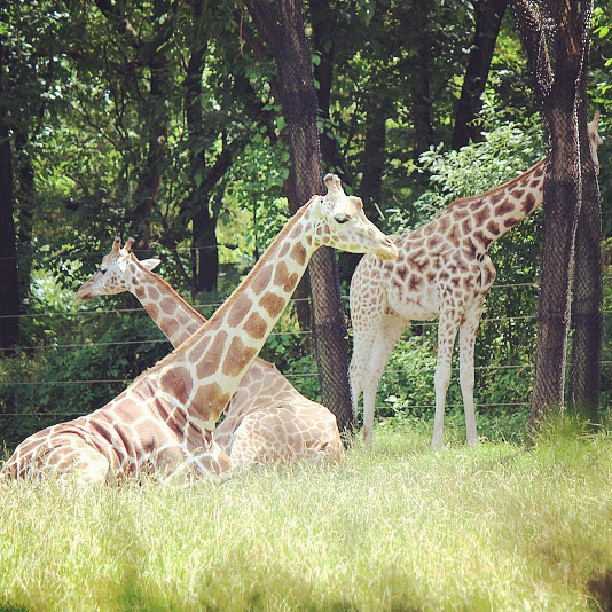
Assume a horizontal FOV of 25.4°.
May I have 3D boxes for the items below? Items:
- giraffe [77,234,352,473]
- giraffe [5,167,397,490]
[{"bbox_3d":[-0.740,0.474,11.745,2.166,2.043,0.631,28,21,34],"label":"giraffe"},{"bbox_3d":[-0.807,0.168,9.983,2.638,2.226,0.779,-5,13,-29],"label":"giraffe"}]
